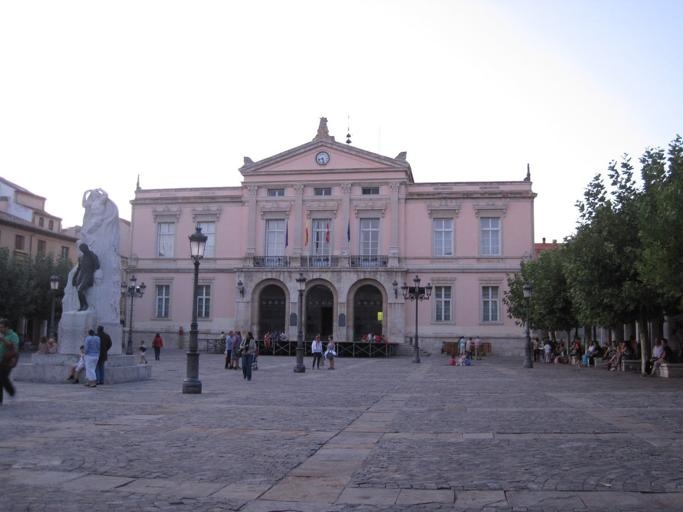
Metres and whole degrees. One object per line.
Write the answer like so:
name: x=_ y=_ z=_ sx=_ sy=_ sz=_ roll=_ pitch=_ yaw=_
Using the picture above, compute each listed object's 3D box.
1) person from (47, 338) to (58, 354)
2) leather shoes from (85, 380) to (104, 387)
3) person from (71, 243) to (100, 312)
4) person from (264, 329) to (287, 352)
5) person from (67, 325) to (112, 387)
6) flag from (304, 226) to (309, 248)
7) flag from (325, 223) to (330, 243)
person: x=-9.945 y=3.097 z=26.901 sx=0.298 sy=0.517 sz=0.809 roll=4 pitch=-10 yaw=-20
leather shoes: x=-7.600 y=3.918 z=24.013 sx=0.542 sy=0.237 sz=0.208 roll=5 pitch=-4 yaw=13
person: x=-8.541 y=0.707 z=25.983 sx=0.832 sy=2.255 sz=0.645 roll=1 pitch=-9 yaw=-4
person: x=-4.258 y=5.722 z=51.245 sx=1.299 sy=1.233 sz=0.323 roll=-8 pitch=-20 yaw=16
person: x=-7.876 y=3.124 z=24.303 sx=1.001 sy=1.882 sz=0.875 roll=0 pitch=-9 yaw=4
flag: x=-2.464 y=-1.326 z=55.483 sx=0.345 sy=1.357 sz=0.117 roll=4 pitch=-9 yaw=-19
flag: x=-0.919 y=-1.574 z=55.392 sx=0.338 sy=1.394 sz=0.662 roll=2 pitch=-9 yaw=-8
